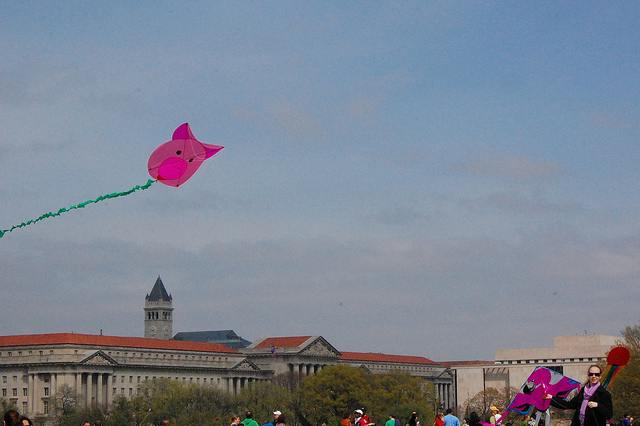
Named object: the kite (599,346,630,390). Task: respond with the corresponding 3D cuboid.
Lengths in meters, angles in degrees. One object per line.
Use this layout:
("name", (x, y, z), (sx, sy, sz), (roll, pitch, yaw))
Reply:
("kite", (32.892, 17.409, 170.445), (3.273, 4.858, 1.838), (-17, -28, 27))
